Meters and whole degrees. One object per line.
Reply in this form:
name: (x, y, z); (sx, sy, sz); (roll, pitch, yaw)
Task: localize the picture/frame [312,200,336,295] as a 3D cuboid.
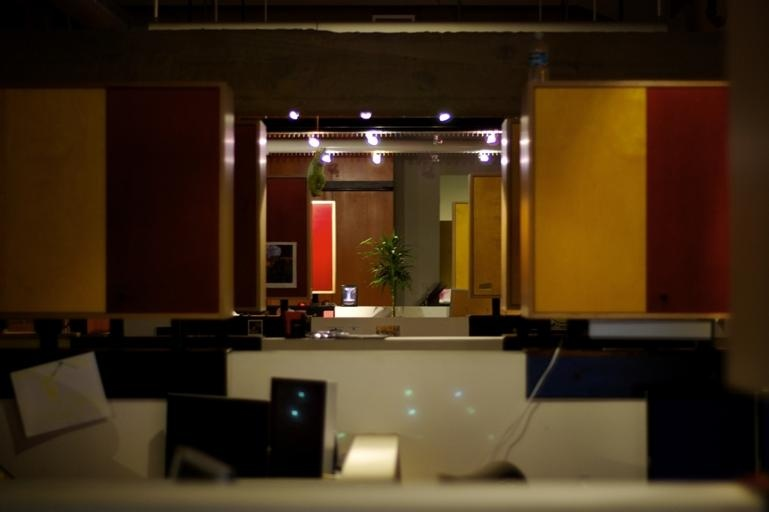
picture/frame: (-0.636, -0.101, 8.836); (0.236, 0.949, 0.276); (2, -1, -11)

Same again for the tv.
tv: (-0.833, 0.808, 4.142); (0.485, 0.052, 0.381); (5, -46, -14)

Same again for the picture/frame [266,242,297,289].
picture/frame: (-0.870, 0.074, 7.021); (0.262, 0.390, 0.035); (1, -20, -12)
